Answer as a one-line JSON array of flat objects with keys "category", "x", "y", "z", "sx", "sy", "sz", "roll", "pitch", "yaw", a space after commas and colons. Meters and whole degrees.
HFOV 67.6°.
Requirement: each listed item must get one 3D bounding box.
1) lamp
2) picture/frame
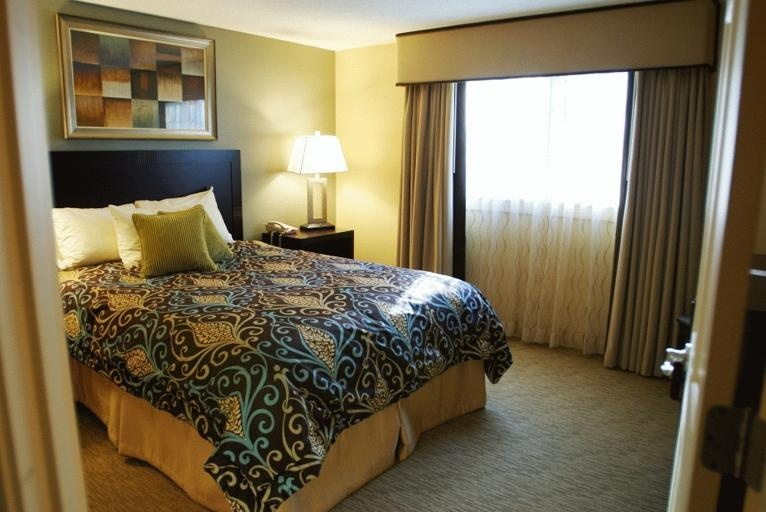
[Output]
[{"category": "lamp", "x": -0.619, "y": -0.685, "z": 5.322, "sx": 0.623, "sy": 0.886, "sz": 0.619, "roll": 1, "pitch": 9, "yaw": 8}, {"category": "picture/frame", "x": -1.855, "y": -1.335, "z": 4.197, "sx": 0.035, "sy": 0.697, "sz": 0.964, "roll": 8, "pitch": 11, "yaw": 41}]
